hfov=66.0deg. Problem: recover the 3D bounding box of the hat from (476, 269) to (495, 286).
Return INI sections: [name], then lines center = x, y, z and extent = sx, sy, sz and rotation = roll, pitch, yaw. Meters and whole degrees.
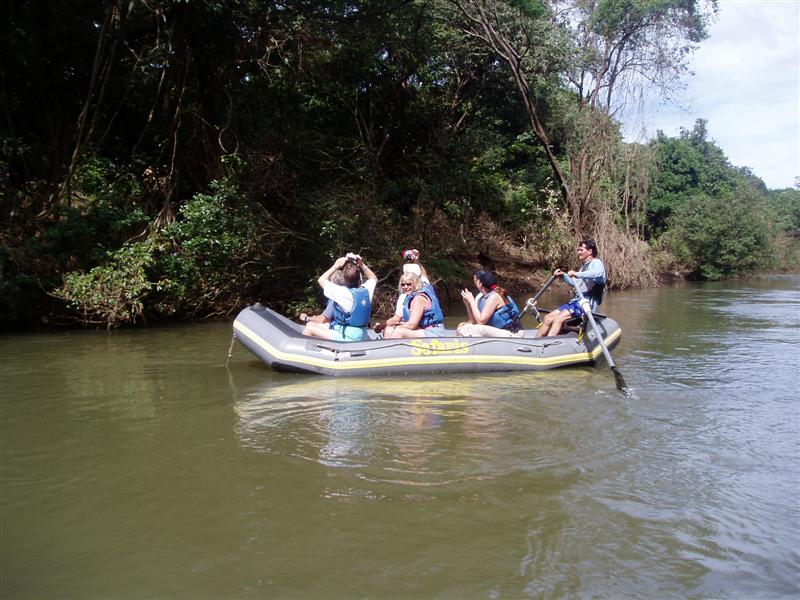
[hat]
center = 1.367, -0.406, 9.787
extent = 0.253, 0.296, 0.235
rotation = -13, -34, -7
